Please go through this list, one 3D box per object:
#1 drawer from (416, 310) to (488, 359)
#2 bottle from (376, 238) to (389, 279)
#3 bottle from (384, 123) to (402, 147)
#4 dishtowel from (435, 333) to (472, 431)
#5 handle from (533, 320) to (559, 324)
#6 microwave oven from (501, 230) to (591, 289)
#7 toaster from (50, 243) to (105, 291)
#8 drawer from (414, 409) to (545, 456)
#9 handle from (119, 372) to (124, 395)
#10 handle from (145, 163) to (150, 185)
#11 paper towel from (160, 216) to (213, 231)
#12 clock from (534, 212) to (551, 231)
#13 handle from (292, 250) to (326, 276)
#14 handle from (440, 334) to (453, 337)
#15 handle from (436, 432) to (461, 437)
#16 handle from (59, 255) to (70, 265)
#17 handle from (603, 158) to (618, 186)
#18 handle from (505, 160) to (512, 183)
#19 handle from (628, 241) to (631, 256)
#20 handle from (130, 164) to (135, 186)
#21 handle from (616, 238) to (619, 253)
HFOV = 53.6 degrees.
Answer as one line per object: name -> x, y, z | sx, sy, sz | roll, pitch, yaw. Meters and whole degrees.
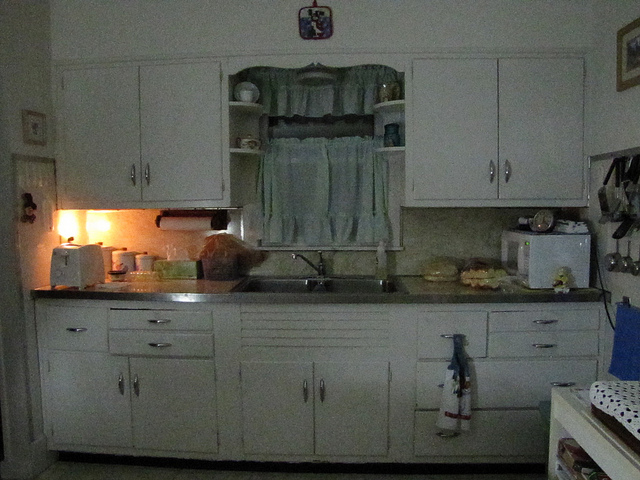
drawer -> 0.842, 0.595, 4.062 | 0.483, 0.359, 0.276 | 0, -2, 5
bottle -> 0.451, 0.132, 4.572 | 0.088, 0.281, 0.215 | -2, 3, 7
bottle -> 0.519, -0.742, 4.505 | 0.121, 0.162, 0.103 | -2, 3, 3
dishtowel -> 0.844, 0.898, 4.021 | 0.222, 0.595, 0.114 | -2, 3, 1
handle -> 1.439, 0.523, 4.055 | 0.148, 0.023, 0.023 | 0, 2, 5
microwave oven -> 1.568, 0.114, 4.424 | 0.422, 0.378, 0.613 | 0, 3, -3
toaster -> -1.648, 0.164, 4.372 | 0.241, 0.365, 0.443 | 0, 2, 3
drawer -> 1.039, 1.245, 4.309 | 0.840, 0.339, 0.489 | -3, 3, 6
handle -> -1.303, 0.949, 4.195 | 0.031, 0.126, 0.005 | -2, 3, -2
handle -> -1.190, -0.466, 4.398 | 0.034, 0.134, 0.012 | -2, 3, -9
paper towel -> -0.964, -0.117, 4.567 | 0.310, 0.094, 0.085 | 1, 13, 3
clock -> 1.479, -0.127, 4.224 | 0.042, 0.111, 0.137 | -3, 4, -25
handle -> -0.075, 0.173, 4.612 | 0.238, 0.186, 0.199 | -2, 3, 0
handle -> 0.812, 0.615, 4.060 | 0.112, 0.018, 0.017 | 1, 5, 9
handle -> 0.827, 1.257, 4.081 | 0.155, 0.033, 0.028 | -2, 3, 2
handle -> -1.710, 0.132, 4.265 | 0.055, 0.065, 0.007 | -2, 3, -2
handle -> 1.761, -0.420, 3.897 | 0.043, 0.226, 0.056 | -2, 34, -6
handle -> 1.259, -0.466, 4.257 | 0.034, 0.117, 0.041 | 3, 4, 9
handle -> 1.882, 0.050, 3.868 | 0.002, 0.085, 0.019 | -3, 3, -28
handle -> -1.297, -0.454, 4.407 | 0.038, 0.143, 0.013 | -1, 3, 23
handle -> 1.840, 0.036, 3.935 | 0.016, 0.082, 0.020 | -5, 4, -41
